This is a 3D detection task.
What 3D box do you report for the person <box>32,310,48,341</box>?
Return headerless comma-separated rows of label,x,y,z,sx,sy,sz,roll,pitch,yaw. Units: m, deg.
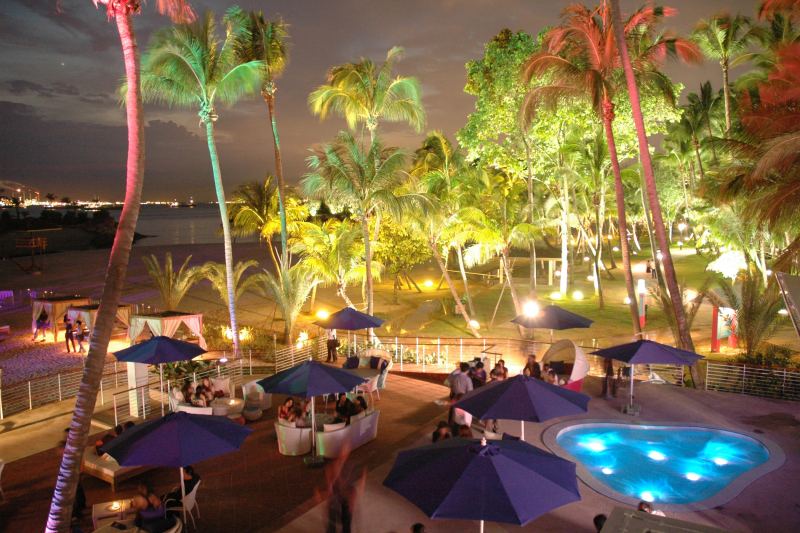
person,-20.292,3.259,27.948,0.628,1.689,1.196,4,-9,-35
